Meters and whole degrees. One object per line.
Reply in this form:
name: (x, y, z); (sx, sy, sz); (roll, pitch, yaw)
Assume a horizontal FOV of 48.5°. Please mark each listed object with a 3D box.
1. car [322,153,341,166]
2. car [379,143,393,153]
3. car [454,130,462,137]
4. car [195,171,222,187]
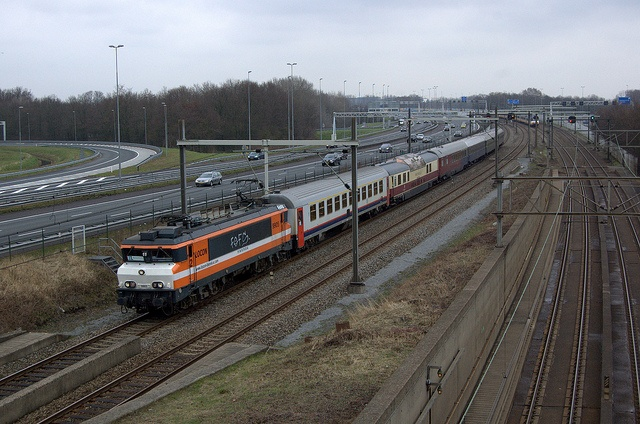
car: (1.501, -6.332, 83.749); (1.476, 1.256, 3.499); (-2, 5, 11)
car: (9.209, -8.981, 98.498); (1.078, 0.999, 2.826); (-2, 7, 14)
car: (23.787, -13.712, 122.120); (0.949, 0.822, 2.296); (-3, 8, 15)
car: (-10.891, -3.377, 70.397); (1.223, 1.131, 2.402); (-1, 1, 22)
